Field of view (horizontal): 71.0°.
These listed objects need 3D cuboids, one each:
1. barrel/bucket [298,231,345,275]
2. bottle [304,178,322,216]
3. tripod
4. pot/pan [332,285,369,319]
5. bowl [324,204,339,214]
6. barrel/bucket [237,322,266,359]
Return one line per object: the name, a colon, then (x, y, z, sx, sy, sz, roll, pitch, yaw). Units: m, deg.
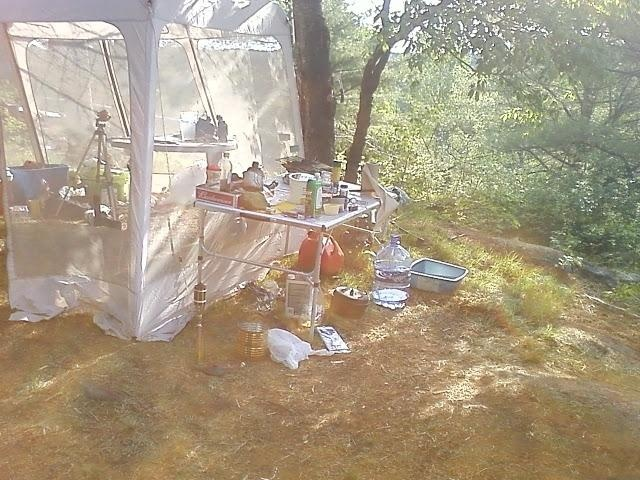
barrel/bucket: (0.041, 0.173, 5.302, 0.524, 0.495, 0.517, 4, 6, 0)
bottle: (-0.063, -0.356, 3.794, 0.141, 0.308, 0.127, 9, 16, 7)
tripod: (-1.911, -0.575, 3.851, 0.601, 0.879, 0.223, 21, 21, 41)
pot/pan: (0.312, 0.614, 4.585, 0.307, 0.207, 0.309, -5, 15, -40)
bowl: (0.097, -0.269, 3.924, 0.083, 0.060, 0.101, -3, 5, -25)
barrel/bucket: (-0.561, 0.837, 3.811, 0.253, 0.263, 0.253, 1, 17, 0)
